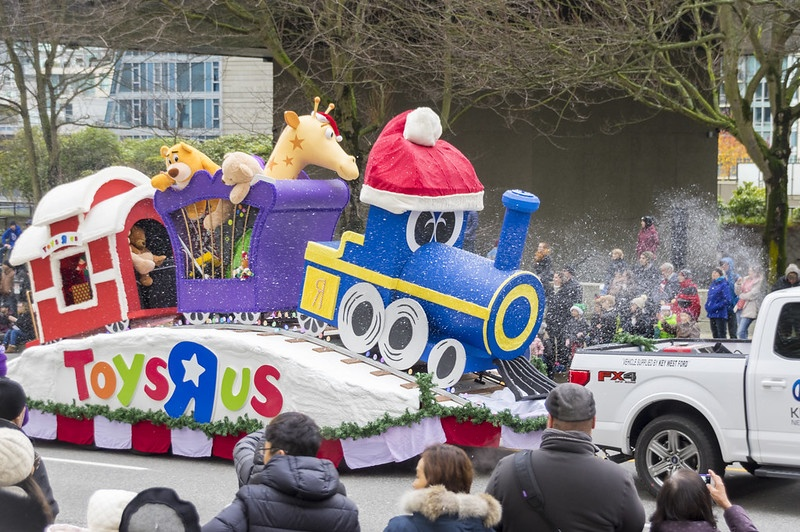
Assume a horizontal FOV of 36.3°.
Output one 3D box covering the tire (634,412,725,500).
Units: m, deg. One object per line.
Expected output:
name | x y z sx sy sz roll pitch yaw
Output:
tire | 4.010 2.818 17.733 1.162 1.205 0.428 0 -2 36

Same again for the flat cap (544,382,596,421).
flat cap | 2.036 1.578 14.663 0.624 0.344 0.834 1 12 -3

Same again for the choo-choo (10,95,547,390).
choo-choo | -0.823 -0.425 20.823 8.260 4.336 2.512 8 1 38

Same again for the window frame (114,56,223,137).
window frame | -8.007 -6.456 41.968 3.495 3.285 2.001 -3 42 -11

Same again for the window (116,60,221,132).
window | -7.813 -5.913 42.645 3.442 3.263 2.038 -1 -9 4

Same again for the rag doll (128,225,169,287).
rag doll | -4.611 -0.176 22.088 0.605 1.085 0.786 4 3 9
